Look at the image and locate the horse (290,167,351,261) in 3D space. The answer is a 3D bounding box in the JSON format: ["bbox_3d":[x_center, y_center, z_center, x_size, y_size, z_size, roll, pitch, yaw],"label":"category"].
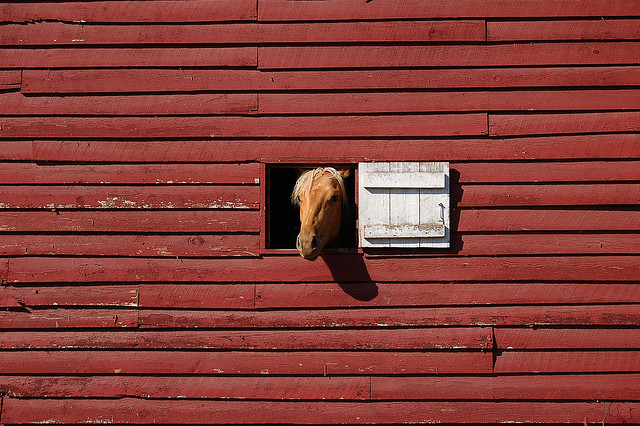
[{"bbox_3d":[-0.045,-0.007,11.069,0.536,0.905,0.798,2,-2,3],"label":"horse"}]
